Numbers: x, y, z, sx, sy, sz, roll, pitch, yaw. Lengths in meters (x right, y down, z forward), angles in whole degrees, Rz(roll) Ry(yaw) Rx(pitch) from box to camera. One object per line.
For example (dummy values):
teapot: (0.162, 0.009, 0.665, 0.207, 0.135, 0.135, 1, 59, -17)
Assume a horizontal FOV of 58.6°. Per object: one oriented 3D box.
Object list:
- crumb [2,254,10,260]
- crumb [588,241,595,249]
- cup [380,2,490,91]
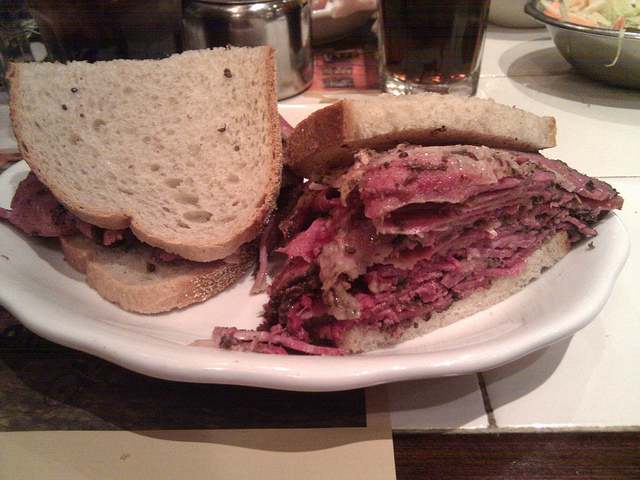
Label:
crumb: (-1.008, 0.054, 1.838, 0.034, 0.008, 0.007, 28, 69, 27)
crumb: (0.881, 0.016, 1.860, 0.021, 0.006, 0.019, -21, 41, 3)
cup: (0.475, -0.833, 2.527, 0.433, 0.331, 0.572, 0, 8, 14)
